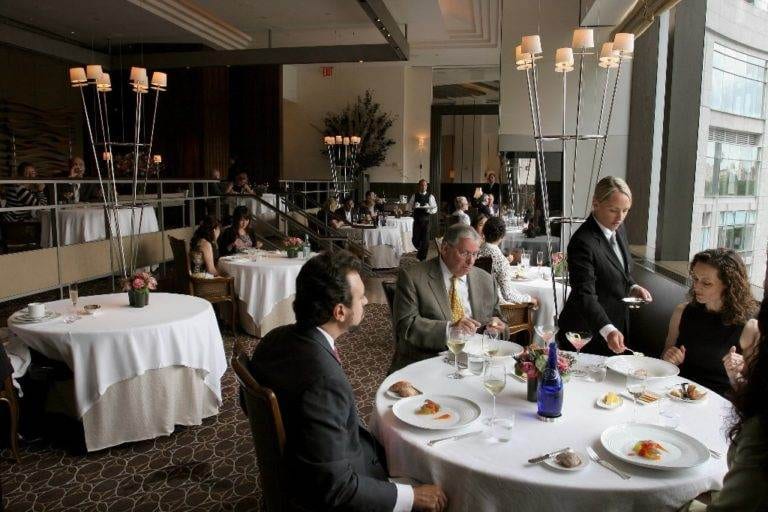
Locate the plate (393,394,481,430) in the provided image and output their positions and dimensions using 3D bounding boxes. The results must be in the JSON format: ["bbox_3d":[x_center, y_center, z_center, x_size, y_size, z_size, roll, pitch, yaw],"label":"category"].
[{"bbox_3d":[0.266,0.782,2.556,0.198,0.025,0.206,6,12,24],"label":"plate"}]

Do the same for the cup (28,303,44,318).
[{"bbox_3d":[-2.519,0.406,3.734,0.115,0.089,0.085,5,-6,-38],"label":"cup"}]

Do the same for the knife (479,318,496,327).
[{"bbox_3d":[0.657,0.424,3.258,0.089,0.056,0.054,2,-23,7],"label":"knife"}]

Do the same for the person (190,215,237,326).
[{"bbox_3d":[-2.030,0.215,6.107,0.501,1.408,0.506,0,19,-17],"label":"person"}]

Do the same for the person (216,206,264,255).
[{"bbox_3d":[-1.847,-0.163,6.736,0.456,0.967,0.539,13,12,41],"label":"person"}]

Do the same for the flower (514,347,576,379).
[{"bbox_3d":[0.822,0.538,2.701,0.224,0.180,0.237,1,-5,3],"label":"flower"}]

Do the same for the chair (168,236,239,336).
[{"bbox_3d":[-2.061,0.371,6.034,0.718,1.019,0.769,2,3,3],"label":"chair"}]

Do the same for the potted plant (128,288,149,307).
[{"bbox_3d":[-1.931,0.307,4.106,0.146,0.176,0.146,-7,11,-42],"label":"potted plant"}]

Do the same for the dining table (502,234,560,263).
[{"bbox_3d":[2.087,-0.155,7.285,0.579,0.449,0.610,1,-3,1],"label":"dining table"}]

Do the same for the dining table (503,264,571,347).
[{"bbox_3d":[1.580,0.402,5.160,0.697,0.376,0.602,9,22,29],"label":"dining table"}]

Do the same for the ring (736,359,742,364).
[{"bbox_3d":[1.941,0.579,2.803,0.029,0.024,0.010,14,3,8],"label":"ring"}]

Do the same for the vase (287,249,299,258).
[{"bbox_3d":[-1.101,-0.027,6.217,0.099,0.077,0.098,-4,8,-41],"label":"vase"}]

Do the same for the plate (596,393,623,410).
[{"bbox_3d":[1.162,0.745,2.644,0.094,0.044,0.098,1,5,23],"label":"plate"}]

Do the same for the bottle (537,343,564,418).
[{"bbox_3d":[0.822,0.616,2.534,0.131,0.394,0.136,-3,17,1],"label":"bottle"}]

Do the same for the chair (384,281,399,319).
[{"bbox_3d":[0.048,0.310,3.797,0.185,0.245,0.184,0,5,-2],"label":"chair"}]

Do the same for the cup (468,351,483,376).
[{"bbox_3d":[0.533,0.624,2.970,0.091,0.112,0.095,0,2,0],"label":"cup"}]

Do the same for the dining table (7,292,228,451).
[{"bbox_3d":[-1.887,0.701,3.873,1.110,0.706,1.139,5,5,40],"label":"dining table"}]

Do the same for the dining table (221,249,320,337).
[{"bbox_3d":[-1.394,0.366,6.188,1.036,0.810,1.081,1,2,0],"label":"dining table"}]

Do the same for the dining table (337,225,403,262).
[{"bbox_3d":[-0.079,-0.366,10.081,0.860,0.542,0.905,-7,24,-33],"label":"dining table"}]

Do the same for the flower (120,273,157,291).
[{"bbox_3d":[-1.938,0.213,4.072,0.217,0.148,0.260,-7,15,-31],"label":"flower"}]

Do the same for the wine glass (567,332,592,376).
[{"bbox_3d":[1.139,0.551,2.949,0.181,0.247,0.190,0,1,38],"label":"wine glass"}]

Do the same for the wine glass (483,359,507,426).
[{"bbox_3d":[0.569,0.704,2.619,0.113,0.301,0.105,3,10,21],"label":"wine glass"}]

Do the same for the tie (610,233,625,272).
[{"bbox_3d":[1.648,-0.023,3.642,0.060,0.257,0.141,-11,-6,44],"label":"tie"}]

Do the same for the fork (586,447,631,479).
[{"bbox_3d":[0.969,0.903,2.267,0.050,0.047,0.302,-8,16,-11],"label":"fork"}]

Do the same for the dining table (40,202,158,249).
[{"bbox_3d":[-3.848,-0.431,7.042,1.240,0.497,1.271,-1,0,25],"label":"dining table"}]

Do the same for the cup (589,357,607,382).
[{"bbox_3d":[1.172,0.637,2.838,0.091,0.101,0.097,-2,1,0],"label":"cup"}]

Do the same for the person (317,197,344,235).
[{"bbox_3d":[-1.057,-0.766,10.399,0.480,0.911,1.941,-1,13,-8],"label":"person"}]

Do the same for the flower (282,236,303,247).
[{"bbox_3d":[-1.104,-0.171,6.332,0.182,0.115,0.192,0,-3,10],"label":"flower"}]

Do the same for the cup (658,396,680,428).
[{"bbox_3d":[1.405,0.786,2.540,0.085,0.111,0.149,-3,-2,8],"label":"cup"}]

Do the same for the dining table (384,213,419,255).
[{"bbox_3d":[0.364,-0.481,11.215,0.721,0.867,0.751,-1,1,-5],"label":"dining table"}]

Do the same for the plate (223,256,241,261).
[{"bbox_3d":[-1.779,0.025,6.111,0.092,0.054,0.157,1,-10,37],"label":"plate"}]

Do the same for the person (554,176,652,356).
[{"bbox_3d":[1.527,0.132,3.500,0.545,1.312,0.687,2,13,3],"label":"person"}]

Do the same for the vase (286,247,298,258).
[{"bbox_3d":[-1.109,-0.041,6.222,0.113,0.117,0.116,7,9,38],"label":"vase"}]

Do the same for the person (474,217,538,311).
[{"bbox_3d":[1.193,0.115,5.003,0.653,1.030,0.515,10,21,33],"label":"person"}]
